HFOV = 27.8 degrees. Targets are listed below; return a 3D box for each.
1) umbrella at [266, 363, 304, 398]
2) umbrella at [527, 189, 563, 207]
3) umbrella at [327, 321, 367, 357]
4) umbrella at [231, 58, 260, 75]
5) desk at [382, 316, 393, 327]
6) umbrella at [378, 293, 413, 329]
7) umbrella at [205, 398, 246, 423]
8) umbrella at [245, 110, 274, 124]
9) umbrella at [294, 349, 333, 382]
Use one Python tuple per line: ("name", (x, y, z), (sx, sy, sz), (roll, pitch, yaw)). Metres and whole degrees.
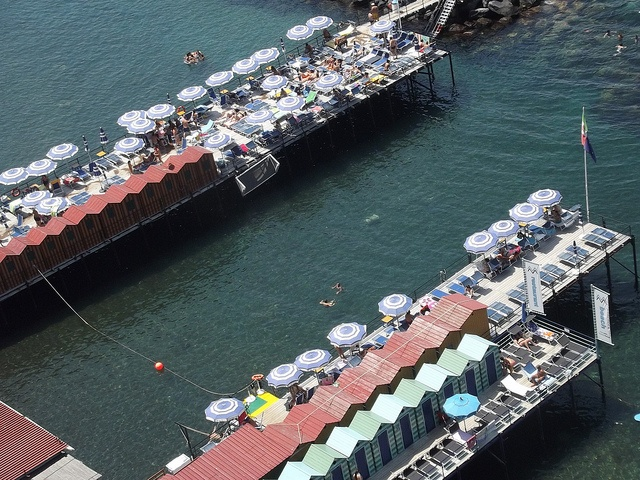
("umbrella", (-2.948, 13.040, 115.609), (2.915, 2.670, 2.274), (-12, 38, 1))
("umbrella", (21.615, -3.566, 123.588), (2.734, 1.604, 2.194), (4, 40, 21))
("umbrella", (2.701, 9.485, 118.134), (3.135, 3.076, 2.898), (-3, 39, 14))
("umbrella", (-8.732, -20.040, 152.200), (2.696, 1.467, 3.003), (-12, 36, 1))
("desk", (6.282, 7.692, 120.243), (1.363, 0.770, 0.791), (-9, 4, 8))
("umbrella", (7.091, 6.384, 120.043), (2.949, 2.789, 2.627), (-13, 60, 7))
("umbrella", (-8.241, 15.342, 113.097), (2.997, 1.705, 2.628), (11, 43, 29))
("umbrella", (-6.779, -13.287, 143.655), (3.161, 1.422, 1.880), (-2, 38, 13))
("umbrella", (-0.616, 11.415, 116.429), (2.429, 1.849, 3.098), (18, 46, 35))
